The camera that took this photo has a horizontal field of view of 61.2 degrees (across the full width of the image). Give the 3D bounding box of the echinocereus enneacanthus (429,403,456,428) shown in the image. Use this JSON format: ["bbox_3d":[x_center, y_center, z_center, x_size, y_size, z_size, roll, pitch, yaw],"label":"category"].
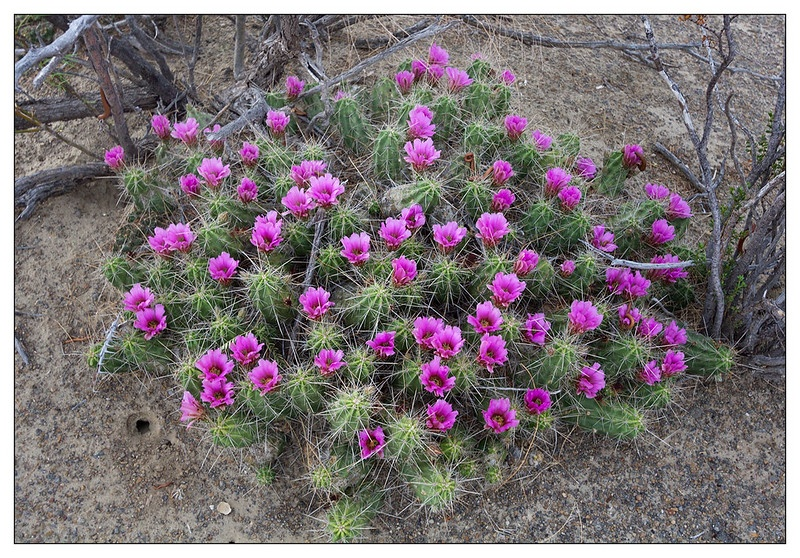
[{"bbox_3d":[0.208,0.683,3.382,0.141,0.152,0.172,6,-1,4],"label":"echinocereus enneacanthus"}]

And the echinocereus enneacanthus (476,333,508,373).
[{"bbox_3d":[0.444,0.361,3.363,0.194,0.122,0.174,9,30,38],"label":"echinocereus enneacanthus"}]

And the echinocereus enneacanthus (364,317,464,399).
[{"bbox_3d":[0.070,0.381,3.394,0.470,0.380,0.207,6,-1,5],"label":"echinocereus enneacanthus"}]

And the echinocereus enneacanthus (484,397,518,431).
[{"bbox_3d":[0.512,0.692,3.426,0.176,0.172,0.160,6,-1,11],"label":"echinocereus enneacanthus"}]

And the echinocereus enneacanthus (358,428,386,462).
[{"bbox_3d":[-0.137,0.827,3.369,0.138,0.167,0.181,6,-1,0],"label":"echinocereus enneacanthus"}]

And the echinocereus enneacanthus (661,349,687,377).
[{"bbox_3d":[1.451,0.456,3.607,0.095,0.136,0.160,5,-2,41],"label":"echinocereus enneacanthus"}]

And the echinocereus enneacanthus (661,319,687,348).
[{"bbox_3d":[1.466,0.302,3.645,0.120,0.140,0.075,-34,-24,25],"label":"echinocereus enneacanthus"}]

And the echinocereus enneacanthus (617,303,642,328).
[{"bbox_3d":[1.206,0.201,3.582,0.118,0.129,0.107,22,-6,-34],"label":"echinocereus enneacanthus"}]

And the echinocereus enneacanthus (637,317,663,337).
[{"bbox_3d":[1.327,0.261,3.616,0.102,0.109,0.056,48,17,28],"label":"echinocereus enneacanthus"}]

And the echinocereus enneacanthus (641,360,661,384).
[{"bbox_3d":[1.304,0.500,3.549,0.059,0.121,0.111,-1,-23,-43],"label":"echinocereus enneacanthus"}]

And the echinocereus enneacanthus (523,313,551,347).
[{"bbox_3d":[0.698,0.261,3.483,0.141,0.159,0.079,28,3,22],"label":"echinocereus enneacanthus"}]

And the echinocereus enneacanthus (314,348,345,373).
[{"bbox_3d":[-0.349,0.413,3.370,0.149,0.125,0.128,6,-1,-8],"label":"echinocereus enneacanthus"}]

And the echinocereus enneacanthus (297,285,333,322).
[{"bbox_3d":[-0.425,0.127,3.457,0.166,0.167,0.232,6,-1,-8],"label":"echinocereus enneacanthus"}]

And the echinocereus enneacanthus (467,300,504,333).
[{"bbox_3d":[0.431,0.197,3.387,0.179,0.154,0.102,6,-1,8],"label":"echinocereus enneacanthus"}]

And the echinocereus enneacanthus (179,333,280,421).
[{"bbox_3d":[-0.785,0.485,3.415,0.435,0.470,0.256,5,-24,32],"label":"echinocereus enneacanthus"}]

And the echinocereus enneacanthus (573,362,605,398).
[{"bbox_3d":[0.959,0.532,3.516,0.153,0.166,0.074,0,2,-15],"label":"echinocereus enneacanthus"}]

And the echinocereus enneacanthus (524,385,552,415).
[{"bbox_3d":[0.708,0.628,3.481,0.123,0.128,0.089,-25,-15,19],"label":"echinocereus enneacanthus"}]
